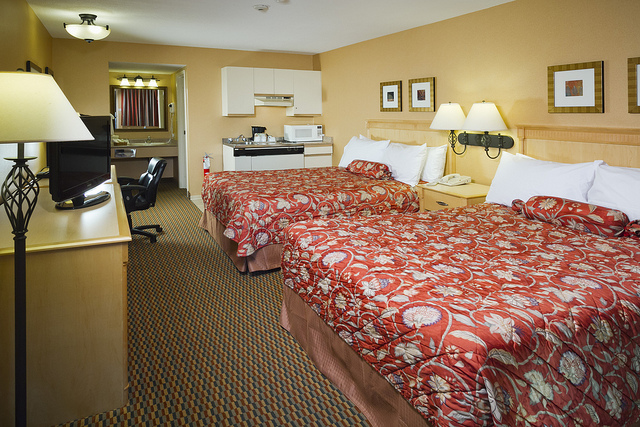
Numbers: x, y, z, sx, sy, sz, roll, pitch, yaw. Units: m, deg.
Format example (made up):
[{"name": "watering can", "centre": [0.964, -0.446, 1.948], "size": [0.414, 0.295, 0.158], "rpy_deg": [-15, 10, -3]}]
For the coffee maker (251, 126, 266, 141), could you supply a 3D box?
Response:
[{"name": "coffee maker", "centre": [-1.121, -1.493, 7.642], "size": [0.232, 0.236, 0.134], "rpy_deg": [-9, 14, -37]}]

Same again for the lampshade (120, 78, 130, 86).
[{"name": "lampshade", "centre": [-4.001, -2.688, 8.506], "size": [0.133, 0.148, 0.134], "rpy_deg": [-6, 14, -25]}]

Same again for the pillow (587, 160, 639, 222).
[{"name": "pillow", "centre": [2.339, -0.174, 3.260], "size": [0.116, 0.434, 0.406], "rpy_deg": [25, -12, -35]}]

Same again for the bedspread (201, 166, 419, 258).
[{"name": "bedspread", "centre": [-0.323, -0.184, 5.451], "size": [2.387, 0.904, 2.853], "rpy_deg": [-3, 12, -19]}]

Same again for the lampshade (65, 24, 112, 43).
[{"name": "lampshade", "centre": [-2.710, -2.128, 4.875], "size": [0.263, 0.136, 0.273], "rpy_deg": [8, 20, 11]}]

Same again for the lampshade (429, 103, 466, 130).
[{"name": "lampshade", "centre": [1.539, -1.146, 4.954], "size": [0.332, 0.295, 0.333], "rpy_deg": [18, 27, 42]}]

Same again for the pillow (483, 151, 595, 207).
[{"name": "pillow", "centre": [1.949, -0.289, 3.675], "size": [0.424, 0.379, 0.887], "rpy_deg": [-28, 17, -19]}]

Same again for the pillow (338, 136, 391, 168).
[{"name": "pillow", "centre": [0.639, -0.863, 5.782], "size": [0.467, 0.458, 0.652], "rpy_deg": [-4, 12, -34]}]

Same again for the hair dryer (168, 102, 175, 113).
[{"name": "hair dryer", "centre": [-3.147, -2.241, 8.859], "size": [0.081, 0.233, 0.147], "rpy_deg": [-13, 18, -42]}]

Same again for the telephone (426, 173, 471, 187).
[{"name": "telephone", "centre": [1.532, -0.391, 4.887], "size": [0.511, 0.118, 0.295], "rpy_deg": [4, 15, 14]}]

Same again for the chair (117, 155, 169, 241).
[{"name": "chair", "centre": [-2.322, -0.186, 5.126], "size": [0.722, 1.076, 0.754], "rpy_deg": [1, 12, -28]}]

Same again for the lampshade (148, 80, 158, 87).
[{"name": "lampshade", "centre": [-3.505, -2.734, 8.723], "size": [0.120, 0.091, 0.124], "rpy_deg": [-1, 12, -7]}]

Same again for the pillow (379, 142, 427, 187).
[{"name": "pillow", "centre": [1.072, -0.615, 5.072], "size": [0.172, 0.577, 0.582], "rpy_deg": [23, 3, -37]}]

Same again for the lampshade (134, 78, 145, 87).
[{"name": "lampshade", "centre": [-3.737, -2.704, 8.614], "size": [0.133, 0.129, 0.102], "rpy_deg": [-2, -10, -14]}]

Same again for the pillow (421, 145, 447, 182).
[{"name": "pillow", "centre": [1.397, -0.601, 5.058], "size": [0.184, 0.379, 0.407], "rpy_deg": [-12, 10, -18]}]

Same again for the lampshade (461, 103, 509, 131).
[{"name": "lampshade", "centre": [1.784, -1.024, 4.476], "size": [0.361, 0.232, 0.326], "rpy_deg": [-15, 20, -38]}]
